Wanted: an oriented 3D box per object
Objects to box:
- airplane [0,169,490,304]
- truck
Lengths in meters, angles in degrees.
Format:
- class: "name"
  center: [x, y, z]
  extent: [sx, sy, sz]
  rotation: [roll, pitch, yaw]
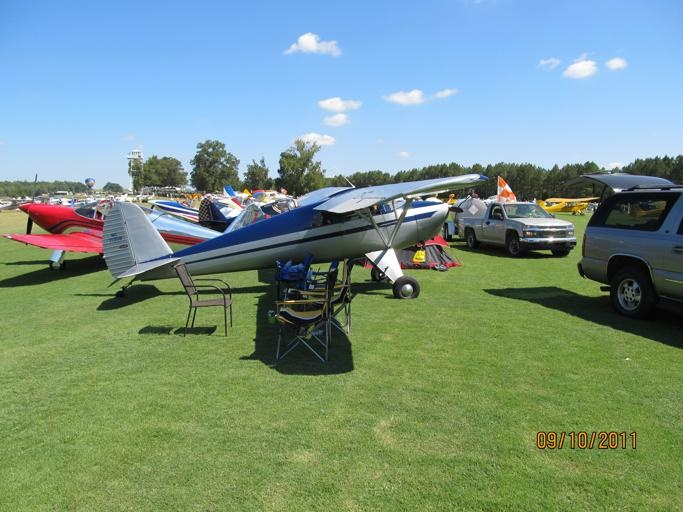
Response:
- class: "airplane"
  center: [-1.262, -0.373, 10.395]
  extent: [7.512, 2.871, 3.108]
  rotation: [1, 11, 2]
- class: "truck"
  center: [6.861, -1.198, 17.815]
  extent: [2.684, 1.479, 4.857]
  rotation: [-3, 5, -24]
